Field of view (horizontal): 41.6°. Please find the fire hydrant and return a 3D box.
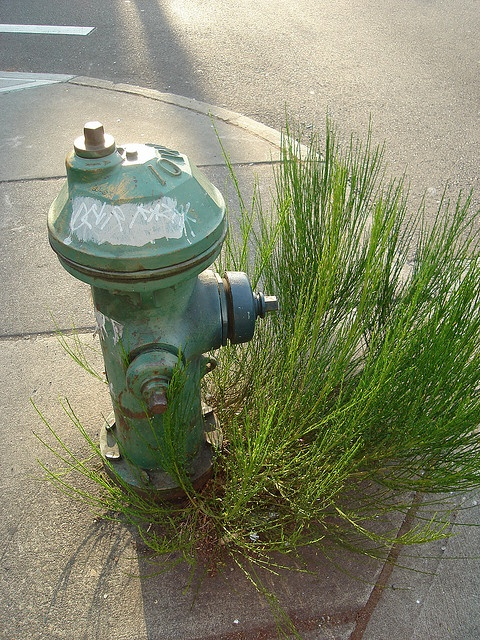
[{"bbox_3d":[-0.208,0.047,1.833,0.536,1.187,0.511,-18,40,-29],"label":"fire hydrant"}]
